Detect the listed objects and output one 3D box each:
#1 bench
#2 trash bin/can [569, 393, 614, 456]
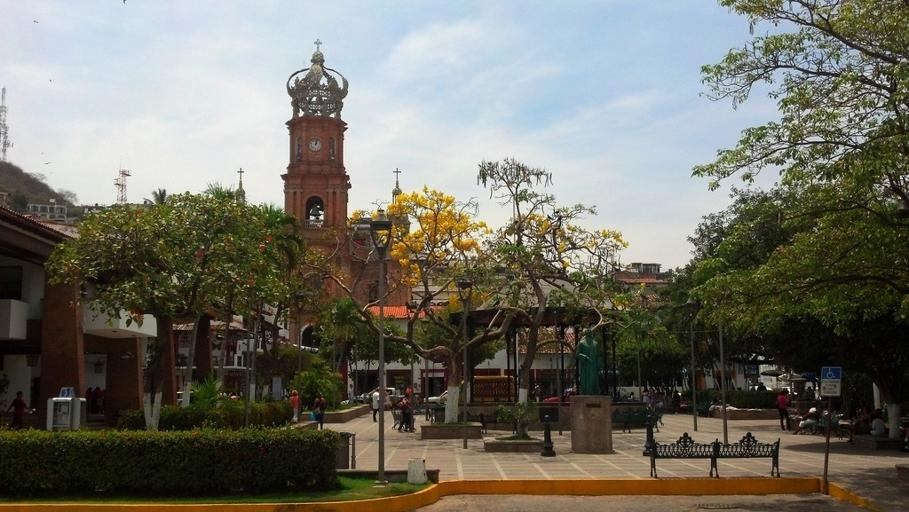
[{"bbox_3d":[9.957,7.829,33.063,5.609,1.858,1.910,0,-2,2],"label":"bench"},{"bbox_3d":[6.129,7.534,37.869,1.802,2.571,1.067,-2,-16,2],"label":"trash bin/can"}]
